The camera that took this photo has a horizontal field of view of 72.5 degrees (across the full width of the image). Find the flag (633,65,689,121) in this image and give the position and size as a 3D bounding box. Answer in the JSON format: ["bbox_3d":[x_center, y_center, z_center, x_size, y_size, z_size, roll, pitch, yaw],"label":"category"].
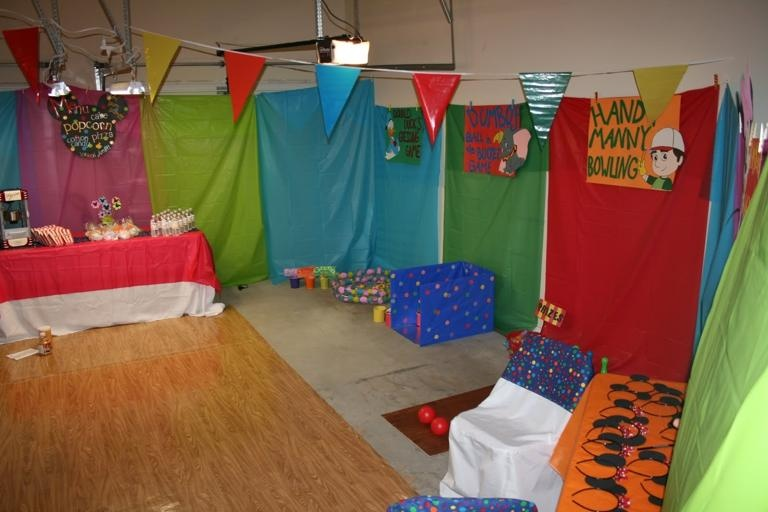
[{"bbox_3d":[2.238,-1.302,4.179,0.026,0.496,0.500,-6,8,-34],"label":"flag"}]

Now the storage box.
[{"bbox_3d":[0.687,0.478,6.130,1.109,0.767,0.780,-7,12,-28],"label":"storage box"}]

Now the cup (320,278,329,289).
[{"bbox_3d":[-0.843,0.399,7.561,0.133,0.147,0.136,-2,1,0],"label":"cup"}]

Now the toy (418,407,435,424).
[{"bbox_3d":[0.363,1.341,4.468,0.134,0.142,0.135,6,4,31],"label":"toy"}]

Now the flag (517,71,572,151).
[{"bbox_3d":[1.421,-1.315,4.676,0.225,0.631,0.391,-11,19,-39],"label":"flag"}]

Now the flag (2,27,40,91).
[{"bbox_3d":[-3.874,-2.121,5.661,0.308,0.655,0.415,-9,18,-33],"label":"flag"}]

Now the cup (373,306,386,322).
[{"bbox_3d":[-0.041,0.714,6.420,0.163,0.182,0.161,3,5,0],"label":"cup"}]

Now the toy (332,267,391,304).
[{"bbox_3d":[-0.316,0.418,7.284,0.782,0.266,0.925,1,15,-2],"label":"toy"}]

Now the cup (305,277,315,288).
[{"bbox_3d":[-1.053,0.388,7.524,0.132,0.133,0.137,-1,-4,0],"label":"cup"}]

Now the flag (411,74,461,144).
[{"bbox_3d":[0.528,-1.433,5.041,0.426,0.619,0.261,15,21,43],"label":"flag"}]

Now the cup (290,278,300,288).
[{"bbox_3d":[-1.284,0.411,7.574,0.133,0.116,0.126,-2,-29,-1],"label":"cup"}]

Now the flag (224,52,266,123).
[{"bbox_3d":[-1.340,-1.652,5.109,0.363,0.646,0.326,-2,15,-10],"label":"flag"}]

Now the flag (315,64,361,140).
[{"bbox_3d":[-0.424,-1.439,4.898,0.388,0.647,0.284,-1,15,-8],"label":"flag"}]
